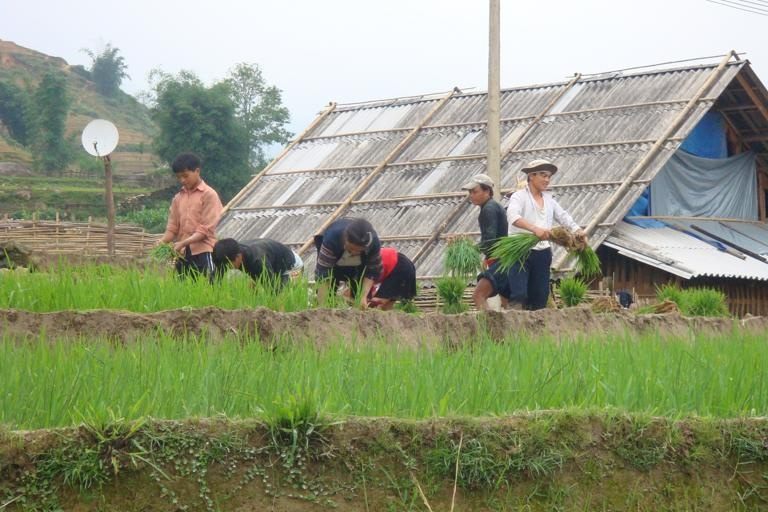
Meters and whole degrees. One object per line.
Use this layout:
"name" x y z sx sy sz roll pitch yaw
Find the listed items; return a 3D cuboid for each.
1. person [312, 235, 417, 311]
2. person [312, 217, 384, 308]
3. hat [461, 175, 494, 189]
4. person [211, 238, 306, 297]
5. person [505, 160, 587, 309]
"person" -0.413 0.093 20.797 1.158 1.144 1.540 -26 24 -27
"person" -0.581 -0.020 19.449 0.996 1.477 1.466 1 29 -3
"hat" 1.568 -1.257 20.696 0.532 0.294 0.359 4 -1 0
"person" -2.044 0.144 19.735 1.748 0.780 1.246 7 -1 -39
"person" 2.540 -0.360 20.145 1.102 1.665 1.136 8 -5 13
